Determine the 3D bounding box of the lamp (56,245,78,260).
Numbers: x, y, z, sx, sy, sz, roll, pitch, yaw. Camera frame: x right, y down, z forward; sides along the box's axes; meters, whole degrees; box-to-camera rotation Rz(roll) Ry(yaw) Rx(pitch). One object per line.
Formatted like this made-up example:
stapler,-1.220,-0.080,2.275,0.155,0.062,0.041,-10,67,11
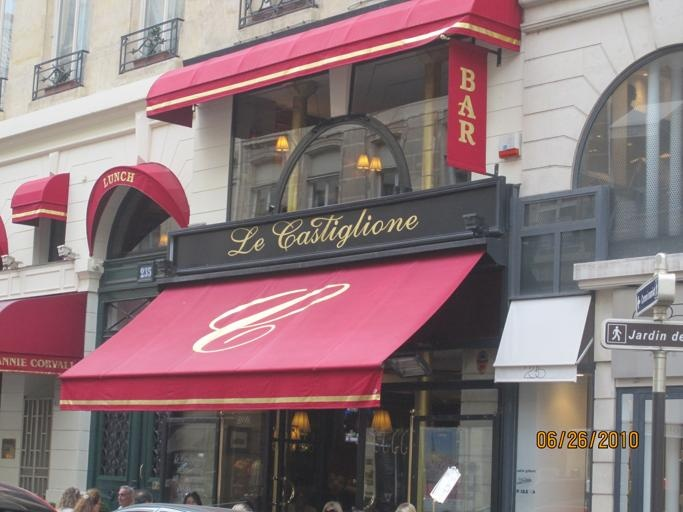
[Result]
lamp,-5.539,-0.044,30.193,0.390,0.332,0.313,2,-12,-11

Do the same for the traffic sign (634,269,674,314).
traffic sign,4.243,0.504,20.134,0.167,0.291,0.585,5,-16,-9

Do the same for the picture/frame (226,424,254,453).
picture/frame,-1.801,3.248,26.465,0.414,0.402,0.058,2,-11,-10
